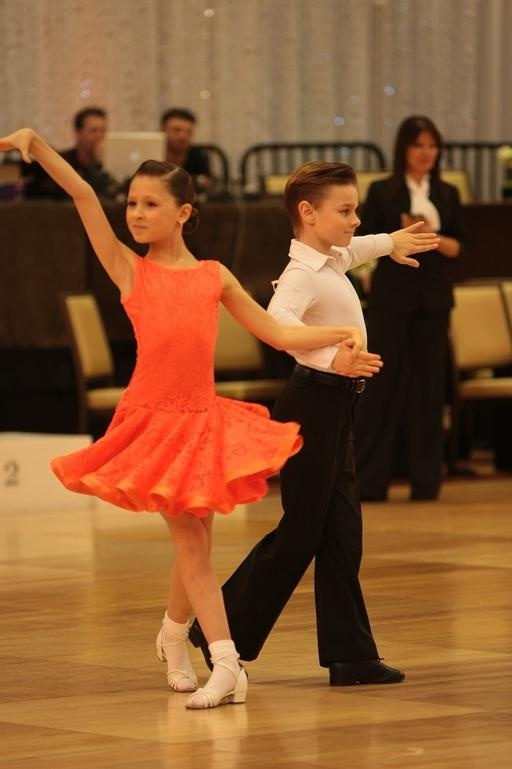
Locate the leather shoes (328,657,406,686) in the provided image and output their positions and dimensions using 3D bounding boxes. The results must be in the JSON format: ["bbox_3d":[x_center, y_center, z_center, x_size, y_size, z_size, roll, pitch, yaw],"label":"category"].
[{"bbox_3d":[0.192,0.489,1.533,0.130,0.045,0.047,-3,-4,-2],"label":"leather shoes"}]

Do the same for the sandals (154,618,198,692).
[{"bbox_3d":[-0.136,0.455,1.489,0.053,0.067,0.152,0,9,-20],"label":"sandals"}]

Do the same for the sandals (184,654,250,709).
[{"bbox_3d":[-0.059,0.478,1.413,0.124,0.081,0.051,6,-11,-41],"label":"sandals"}]

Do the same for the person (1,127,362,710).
[{"bbox_3d":[-0.136,0.056,1.380,0.507,0.899,0.377,2,-6,-41],"label":"person"}]
